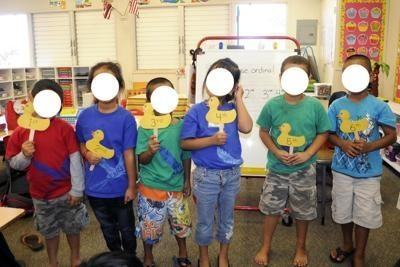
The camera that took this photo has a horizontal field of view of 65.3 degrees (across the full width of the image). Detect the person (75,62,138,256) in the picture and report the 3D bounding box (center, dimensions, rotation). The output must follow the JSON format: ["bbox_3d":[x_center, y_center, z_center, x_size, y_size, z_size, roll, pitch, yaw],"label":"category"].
[{"bbox_3d":[-0.725,0.346,2.472,0.474,1.317,0.248,2,12,16],"label":"person"}]

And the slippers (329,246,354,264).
[{"bbox_3d":[1.250,1.077,2.755,0.212,0.093,0.057,-12,-25,15],"label":"slippers"}]

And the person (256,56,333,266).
[{"bbox_3d":[0.781,0.253,2.645,0.586,1.786,0.376,2,12,18],"label":"person"}]

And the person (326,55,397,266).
[{"bbox_3d":[1.363,0.239,2.633,0.483,1.771,0.437,-9,13,-31],"label":"person"}]

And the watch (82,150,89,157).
[{"bbox_3d":[-0.877,0.153,2.413,0.048,0.061,0.062,3,51,-9],"label":"watch"}]
